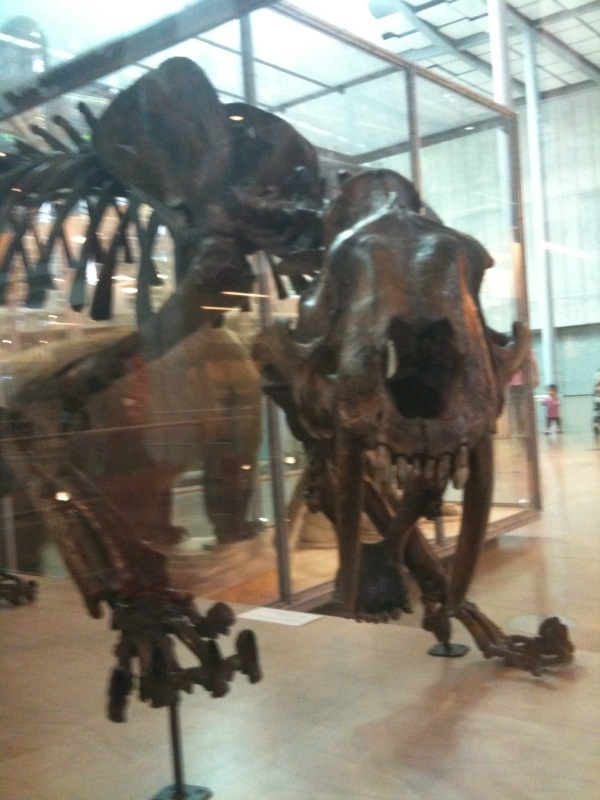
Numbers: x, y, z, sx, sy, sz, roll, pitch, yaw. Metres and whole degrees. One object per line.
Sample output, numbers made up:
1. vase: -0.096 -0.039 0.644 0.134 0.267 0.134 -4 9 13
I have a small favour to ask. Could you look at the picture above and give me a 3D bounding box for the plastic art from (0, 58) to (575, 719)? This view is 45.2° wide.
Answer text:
1. plastic art: -0.053 -0.096 1.386 0.613 0.789 1.360 -6 9 -38
